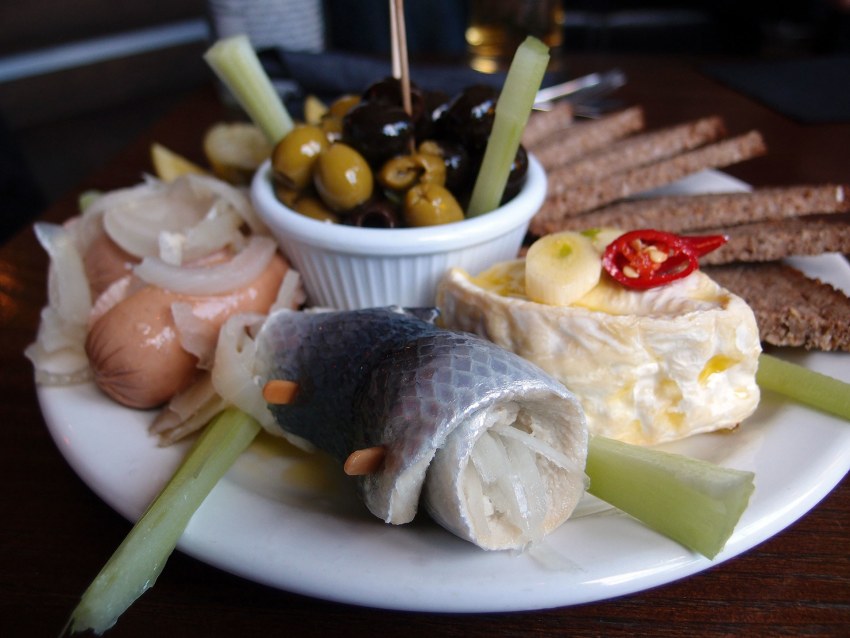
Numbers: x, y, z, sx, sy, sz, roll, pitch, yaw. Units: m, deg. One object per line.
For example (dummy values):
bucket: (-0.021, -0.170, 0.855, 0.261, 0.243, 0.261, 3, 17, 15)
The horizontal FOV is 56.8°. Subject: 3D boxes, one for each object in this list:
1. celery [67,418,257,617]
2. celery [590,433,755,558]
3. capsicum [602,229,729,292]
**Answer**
celery: (-0.450, 0.348, 1.589, 0.122, 0.098, 0.596, 0, 46, 41)
celery: (0.464, 0.342, 1.533, 0.257, 0.106, 0.171, 22, 68, 23)
capsicum: (0.524, -0.130, 1.737, 0.242, 0.073, 0.148, -24, 71, -5)
